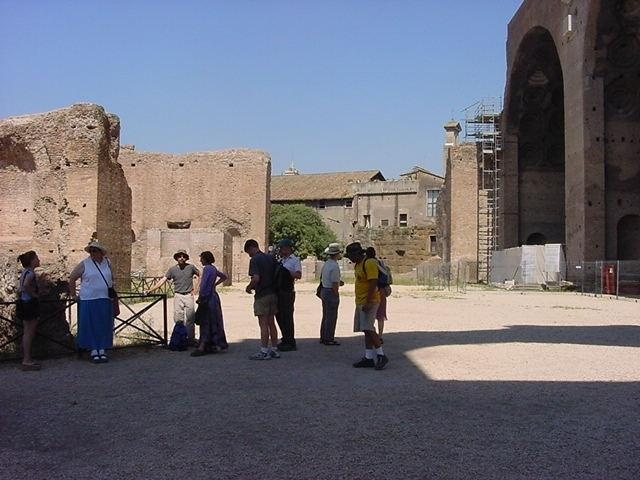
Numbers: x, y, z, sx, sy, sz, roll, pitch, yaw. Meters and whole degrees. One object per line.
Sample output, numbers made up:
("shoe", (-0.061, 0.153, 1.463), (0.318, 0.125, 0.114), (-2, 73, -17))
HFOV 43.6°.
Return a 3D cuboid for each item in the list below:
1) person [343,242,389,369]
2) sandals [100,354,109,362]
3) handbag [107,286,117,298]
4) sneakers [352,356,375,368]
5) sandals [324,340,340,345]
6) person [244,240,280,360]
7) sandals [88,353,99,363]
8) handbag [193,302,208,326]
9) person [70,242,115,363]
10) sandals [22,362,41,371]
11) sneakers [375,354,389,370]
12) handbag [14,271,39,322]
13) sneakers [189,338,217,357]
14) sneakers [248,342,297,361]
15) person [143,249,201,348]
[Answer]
("person", (0.703, 0.965, 11.946), (0.587, 1.782, 0.972), (0, 7, -4))
("sandals", (-3.292, 1.806, 12.250), (0.108, 0.086, 0.297), (1, -5, -21))
("handbag", (-3.229, 0.826, 12.569), (0.161, 0.167, 0.155), (-1, -6, -10))
("sneakers", (0.659, 1.813, 11.846), (0.356, 0.140, 0.128), (0, -1, 6))
("sandals", (0.214, 1.802, 14.015), (0.268, 0.071, 0.316), (0, 6, -2))
("person", (-0.908, 0.954, 12.665), (0.507, 1.824, 0.959), (0, 7, -6))
("sandals", (-3.423, 1.787, 12.222), (0.139, 0.152, 0.199), (-1, 7, -16))
("handbag", (-1.904, 1.187, 12.952), (0.132, 0.318, 0.263), (11, -12, -41))
("person", (-3.506, 0.933, 12.410), (0.635, 1.785, 0.690), (2, 7, 11))
("sandals", (-4.195, 1.836, 11.663), (0.257, 0.093, 0.134), (1, 3, 5))
("sneakers", (0.881, 1.779, 11.638), (0.155, 0.206, 0.176), (2, 7, 14))
("handbag", (-4.327, 0.814, 11.882), (0.303, 0.741, 0.230), (-2, 7, -21))
("sneakers", (-1.866, 1.768, 12.974), (0.168, 0.192, 0.482), (-4, -11, 20))
("sneakers", (-0.769, 1.745, 12.470), (0.669, 0.263, 0.219), (1, -3, -8))
("person", (-3.198, 1.255, 17.393), (1.571, 1.999, 0.677), (-4, -11, -3))
